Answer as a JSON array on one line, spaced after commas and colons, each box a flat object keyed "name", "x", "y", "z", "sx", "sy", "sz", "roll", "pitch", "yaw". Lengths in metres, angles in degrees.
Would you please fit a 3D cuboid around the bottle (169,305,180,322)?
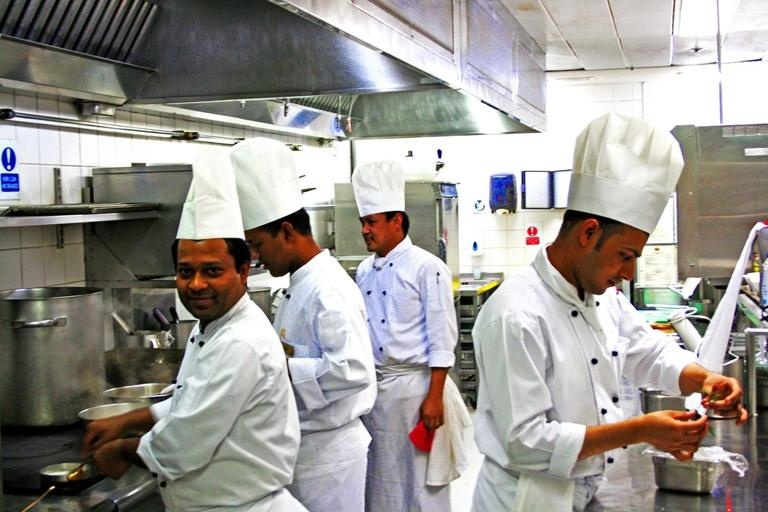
[{"name": "bottle", "x": -1.143, "y": 0.311, "z": 3.619, "sx": 0.034, "sy": 0.105, "sz": 0.032, "roll": -10, "pitch": 34, "yaw": 7}]

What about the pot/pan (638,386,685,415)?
[{"name": "pot/pan", "x": 1.213, "y": 0.625, "z": 2.919, "sx": 0.140, "sy": 0.097, "sz": 0.164, "roll": 3, "pitch": -6, "yaw": -42}]

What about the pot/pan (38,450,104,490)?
[{"name": "pot/pan", "x": -1.169, "y": 0.789, "z": 2.485, "sx": 0.107, "sy": 0.026, "sz": 0.182, "roll": 2, "pitch": 0, "yaw": 37}]

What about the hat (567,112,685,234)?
[{"name": "hat", "x": 0.852, "y": -0.322, "z": 2.311, "sx": 0.309, "sy": 0.380, "sz": 0.379, "roll": -13, "pitch": 26, "yaw": -32}]

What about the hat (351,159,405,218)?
[{"name": "hat", "x": -0.069, "y": -0.385, "z": 3.846, "sx": 0.348, "sy": 0.279, "sz": 0.296, "roll": -2, "pitch": -2, "yaw": -21}]

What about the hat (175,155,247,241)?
[{"name": "hat", "x": -0.588, "y": -0.205, "z": 2.217, "sx": 0.206, "sy": 0.306, "sz": 0.142, "roll": -4, "pitch": 5, "yaw": -18}]

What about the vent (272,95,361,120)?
[{"name": "vent", "x": -0.375, "y": -1.006, "z": 4.346, "sx": 0.191, "sy": 0.112, "sz": 0.779, "roll": 0, "pitch": 5, "yaw": 29}]

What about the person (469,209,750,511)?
[{"name": "person", "x": 0.741, "y": 0.378, "z": 2.274, "sx": 0.819, "sy": 1.071, "sz": 0.517, "roll": -4, "pitch": 5, "yaw": -16}]
